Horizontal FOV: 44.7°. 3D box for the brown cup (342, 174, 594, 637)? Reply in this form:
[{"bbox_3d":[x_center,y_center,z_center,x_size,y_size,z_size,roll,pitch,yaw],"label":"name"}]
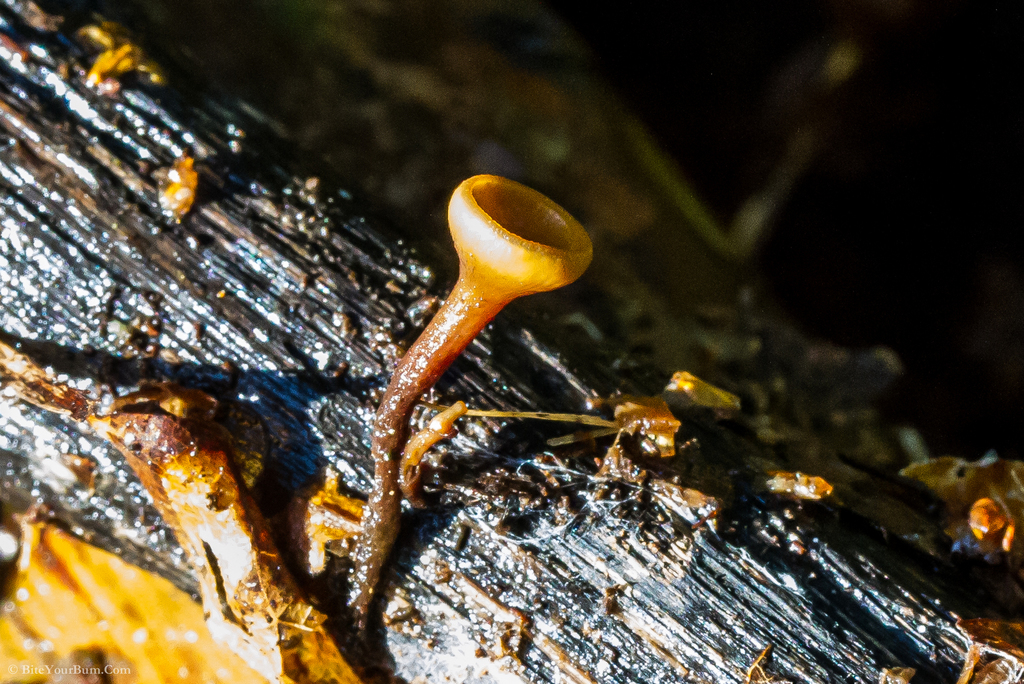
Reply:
[{"bbox_3d":[-0.180,0.242,4.157,0.495,1.560,0.508,13,22,-6],"label":"brown cup"}]
